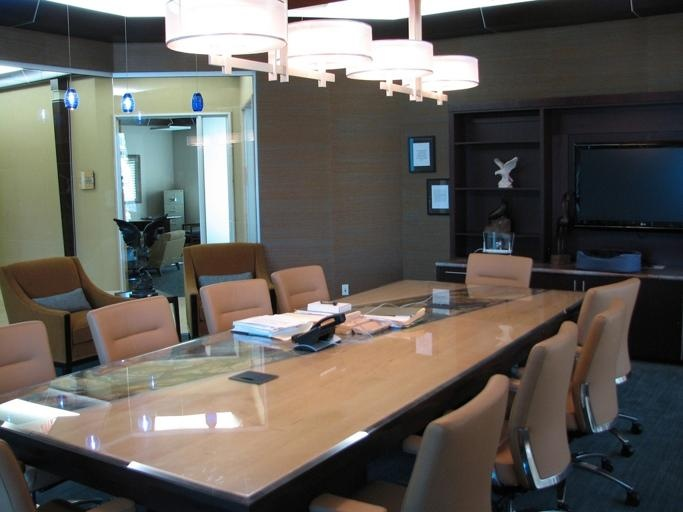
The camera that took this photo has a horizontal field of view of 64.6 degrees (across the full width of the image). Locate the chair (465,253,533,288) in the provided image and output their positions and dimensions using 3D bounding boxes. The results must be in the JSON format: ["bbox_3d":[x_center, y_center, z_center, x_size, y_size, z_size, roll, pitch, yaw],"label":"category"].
[{"bbox_3d":[1.403,0.132,4.803,0.476,0.436,0.355,4,6,28],"label":"chair"}]

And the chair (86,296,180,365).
[{"bbox_3d":[-1.193,0.425,3.312,0.372,0.496,0.433,9,-11,-12],"label":"chair"}]

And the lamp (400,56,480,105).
[{"bbox_3d":[0.741,-1.304,3.895,0.445,0.157,0.436,-1,4,-4],"label":"lamp"}]

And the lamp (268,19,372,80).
[{"bbox_3d":[-0.101,-1.236,3.219,0.580,0.205,0.579,-10,8,-44],"label":"lamp"}]

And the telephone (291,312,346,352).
[{"bbox_3d":[-0.137,0.390,3.011,0.182,0.148,0.246,3,4,25],"label":"telephone"}]

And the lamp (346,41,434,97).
[{"bbox_3d":[0.356,-1.229,3.427,0.404,0.131,0.396,-2,3,-22],"label":"lamp"}]

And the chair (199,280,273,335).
[{"bbox_3d":[-0.738,0.291,3.779,0.384,0.526,0.444,-6,5,-37],"label":"chair"}]

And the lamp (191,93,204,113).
[{"bbox_3d":[-1.699,-1.847,6.387,0.105,0.261,0.545,-3,10,-12],"label":"lamp"}]

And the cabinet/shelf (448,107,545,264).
[{"bbox_3d":[1.947,-1.043,6.475,1.307,0.476,2.166,13,-30,21],"label":"cabinet/shelf"}]

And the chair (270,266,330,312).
[{"bbox_3d":[-0.286,0.233,4.293,0.428,0.483,0.349,7,13,44],"label":"chair"}]

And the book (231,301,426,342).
[{"bbox_3d":[-0.174,0.394,3.295,0.643,0.069,0.470,3,6,37],"label":"book"}]

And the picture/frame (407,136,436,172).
[{"bbox_3d":[1.049,-1.332,6.970,0.469,0.585,0.043,3,6,37],"label":"picture/frame"}]
